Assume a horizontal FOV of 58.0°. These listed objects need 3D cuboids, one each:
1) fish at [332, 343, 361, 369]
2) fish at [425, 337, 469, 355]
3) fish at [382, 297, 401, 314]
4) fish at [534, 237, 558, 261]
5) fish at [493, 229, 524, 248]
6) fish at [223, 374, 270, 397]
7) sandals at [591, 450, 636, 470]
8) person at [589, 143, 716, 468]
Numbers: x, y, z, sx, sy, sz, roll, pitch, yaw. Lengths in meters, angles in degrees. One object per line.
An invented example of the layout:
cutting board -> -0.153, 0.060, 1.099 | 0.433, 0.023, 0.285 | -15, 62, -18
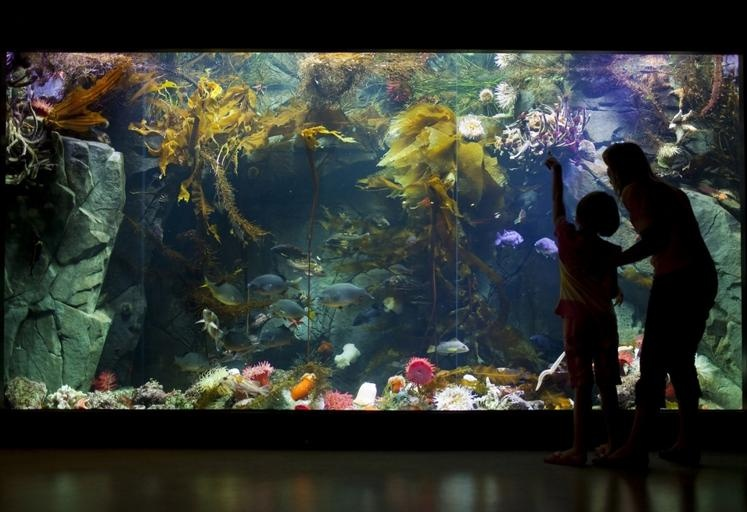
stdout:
fish -> -0.258, 0.956, 6.445 | 0.243, 0.183, 0.105 | -42, -1, -13
fish -> 0.655, 0.864, 6.439 | 0.488, 0.236, 0.137 | 0, -10, -1
fish -> 0.180, 0.467, 6.492 | 0.162, 0.143, 0.037 | 0, 8, 2
fish -> 1.667, -0.068, 6.496 | 0.209, 0.198, 0.094 | 14, -3, 9
fish -> 1.309, -0.168, 6.508 | 0.270, 0.167, 0.052 | 1, 8, 8
fish -> -1.215, 1.223, 6.381 | 0.425, 0.186, 0.046 | 1, 8, 6
sandals -> 2.010, 1.721, 5.724 | 0.399, 0.147, 0.132 | 1, -8, 12
person -> 2.393, 0.431, 5.693 | 0.901, 2.744, 0.663 | 3, 9, 22
